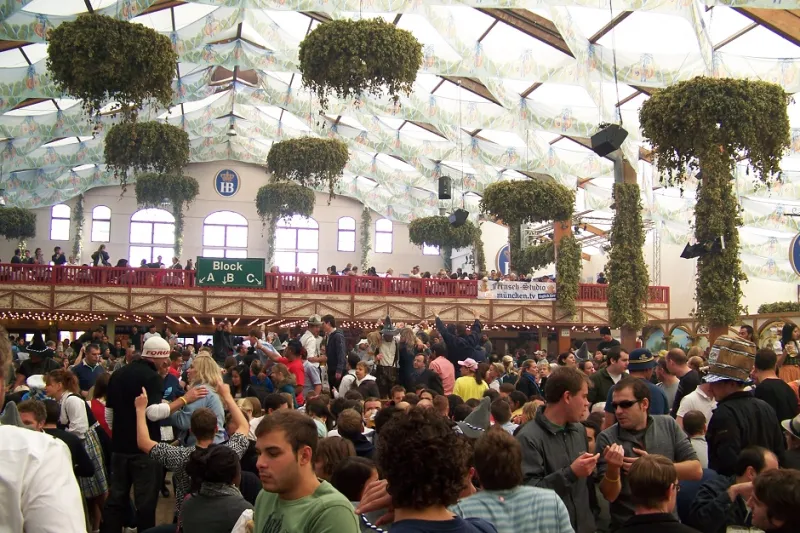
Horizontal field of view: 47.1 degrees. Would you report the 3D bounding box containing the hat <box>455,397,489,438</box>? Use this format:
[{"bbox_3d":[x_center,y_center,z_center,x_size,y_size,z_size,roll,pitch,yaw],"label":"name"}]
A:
[{"bbox_3d":[1.275,2.603,15.759,0.583,0.515,0.651,18,5,2],"label":"hat"}]

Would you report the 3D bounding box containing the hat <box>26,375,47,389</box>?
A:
[{"bbox_3d":[-7.549,2.394,18.987,0.430,0.209,0.557,3,-3,-15],"label":"hat"}]

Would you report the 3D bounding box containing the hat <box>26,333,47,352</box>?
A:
[{"bbox_3d":[-8.859,1.859,22.347,0.426,0.443,0.458,-2,-5,27],"label":"hat"}]

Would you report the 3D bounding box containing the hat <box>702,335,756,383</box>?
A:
[{"bbox_3d":[5.792,1.624,16.197,0.826,0.848,0.741,3,-2,-7],"label":"hat"}]

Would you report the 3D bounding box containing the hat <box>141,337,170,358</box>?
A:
[{"bbox_3d":[-4.531,1.502,17.073,0.457,0.316,0.338,4,-1,13],"label":"hat"}]

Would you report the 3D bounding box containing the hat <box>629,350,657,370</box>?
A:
[{"bbox_3d":[4.471,1.722,16.917,0.402,0.220,0.365,-6,5,-13],"label":"hat"}]

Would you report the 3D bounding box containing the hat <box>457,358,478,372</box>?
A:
[{"bbox_3d":[1.482,2.194,20.449,0.331,0.126,0.223,13,10,38],"label":"hat"}]

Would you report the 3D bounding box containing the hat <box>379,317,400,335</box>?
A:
[{"bbox_3d":[-0.258,1.353,21.587,0.566,0.336,0.794,2,-11,-3],"label":"hat"}]
